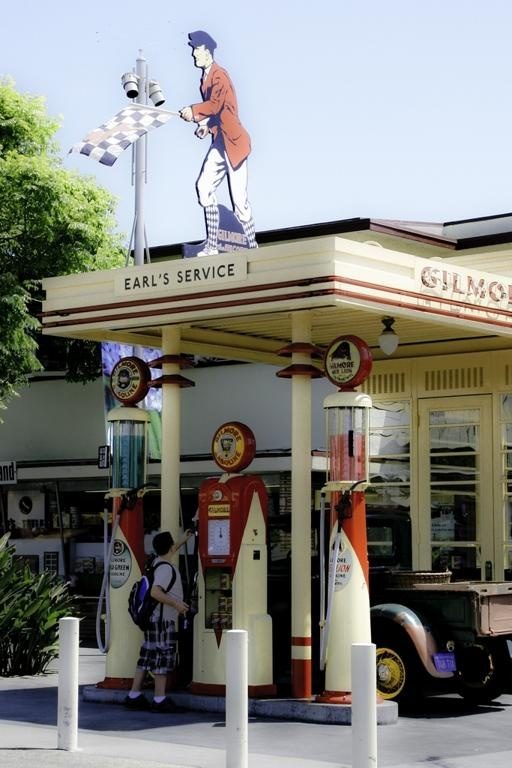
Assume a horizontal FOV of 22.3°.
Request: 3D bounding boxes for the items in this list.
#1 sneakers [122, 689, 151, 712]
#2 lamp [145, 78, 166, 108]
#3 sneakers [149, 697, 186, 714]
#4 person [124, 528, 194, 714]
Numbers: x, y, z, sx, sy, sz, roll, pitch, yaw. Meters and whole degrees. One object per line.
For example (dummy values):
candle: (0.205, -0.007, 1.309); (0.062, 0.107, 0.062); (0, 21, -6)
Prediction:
sneakers: (-1.018, 2.706, 11.045); (0.103, 0.109, 0.253); (2, -3, 27)
lamp: (-1.637, -4.680, 20.956); (0.246, 0.576, 0.703); (1, -5, -8)
sneakers: (-0.751, 2.687, 10.835); (0.317, 0.150, 0.118); (3, -3, -14)
person: (-0.840, 2.020, 11.061); (0.540, 1.490, 0.799); (1, -5, -5)
